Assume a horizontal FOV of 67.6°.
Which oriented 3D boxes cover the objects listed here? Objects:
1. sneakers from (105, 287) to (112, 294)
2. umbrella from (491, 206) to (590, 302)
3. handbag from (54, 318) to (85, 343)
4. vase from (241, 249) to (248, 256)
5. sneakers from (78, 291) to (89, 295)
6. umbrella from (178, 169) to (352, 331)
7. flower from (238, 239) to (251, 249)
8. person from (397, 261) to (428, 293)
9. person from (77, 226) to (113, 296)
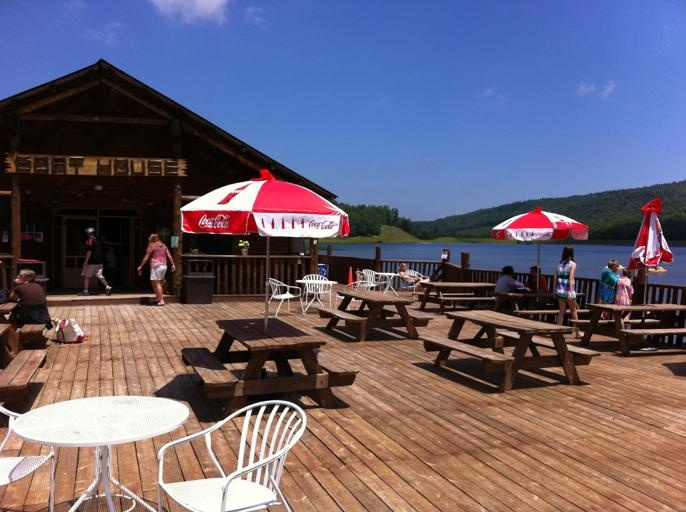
[{"bbox_3d":[-6.658,0.982,14.584,0.225,0.174,0.520,4,-1,-14],"label":"sneakers"},{"bbox_3d":[4.704,-0.121,12.012,2.042,1.811,2.040,-2,6,-1],"label":"umbrella"},{"bbox_3d":[-4.787,1.294,9.020,0.482,0.475,0.350,-4,10,-22],"label":"handbag"},{"bbox_3d":[-2.956,-0.109,15.501,0.268,0.280,0.214,1,5,-4],"label":"vase"},{"bbox_3d":[-7.081,1.017,14.012,0.346,0.145,0.129,1,3,37],"label":"sneakers"},{"bbox_3d":[-1.055,-0.188,6.650,1.664,1.515,1.708,2,10,-14],"label":"umbrella"},{"bbox_3d":[-3.138,-0.378,16.381,0.357,0.243,0.351,0,2,-34],"label":"flower"},{"bbox_3d":[2.256,0.713,17.003,0.997,1.351,1.061,-1,0,38],"label":"person"},{"bbox_3d":[-6.706,0.133,14.011,0.980,1.750,0.819,2,0,-9],"label":"person"}]
